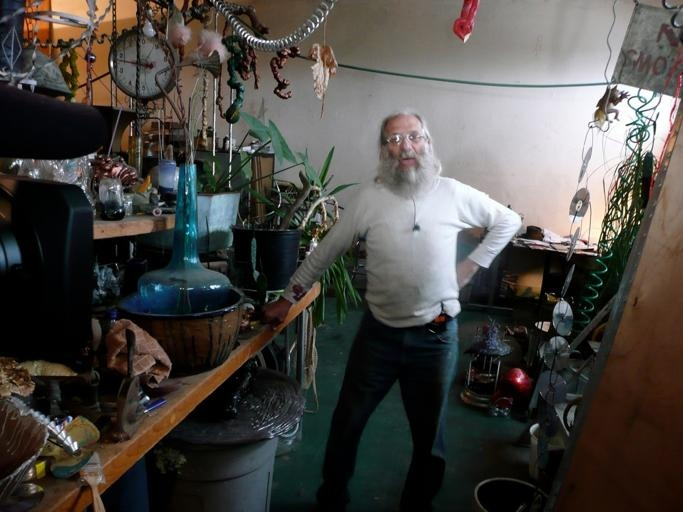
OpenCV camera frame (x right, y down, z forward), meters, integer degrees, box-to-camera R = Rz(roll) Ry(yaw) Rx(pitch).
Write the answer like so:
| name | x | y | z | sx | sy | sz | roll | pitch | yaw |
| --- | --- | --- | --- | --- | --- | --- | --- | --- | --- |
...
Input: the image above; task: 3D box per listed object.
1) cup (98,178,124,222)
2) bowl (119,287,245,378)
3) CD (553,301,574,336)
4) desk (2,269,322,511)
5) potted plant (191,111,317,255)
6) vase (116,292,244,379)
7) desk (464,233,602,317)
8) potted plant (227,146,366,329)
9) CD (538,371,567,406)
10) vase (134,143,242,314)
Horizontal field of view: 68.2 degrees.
| name | x | y | z | sx | sy | sz | roll | pitch | yaw |
| --- | --- | --- | --- | --- | --- | --- | --- | --- | --- |
| cup | -0.696 | -0.171 | 1.517 | 0.069 | 0.117 | 0.102 | -3 | 13 | -28 |
| bowl | -0.402 | 0.193 | 1.352 | 0.297 | 0.203 | 0.321 | 0 | 10 | 0 |
| CD | 0.617 | 0.174 | 1.380 | 0.023 | 0.071 | 0.088 | 13 | 52 | 7 |
| desk | -0.385 | 0.315 | 1.453 | 0.210 | 0.407 | 1.194 | 7 | 13 | 17 |
| potted plant | -0.544 | -0.357 | 2.429 | 0.570 | 0.558 | 0.561 | -12 | 18 | -13 |
| vase | -0.413 | 0.194 | 1.338 | 0.295 | 0.184 | 0.294 | -5 | 11 | -26 |
| desk | 1.631 | 0.289 | 4.733 | 0.463 | 0.623 | 0.841 | 1 | 9 | -40 |
| potted plant | -0.223 | -0.012 | 2.212 | 0.460 | 0.874 | 0.828 | 0 | -1 | 21 |
| CD | 0.540 | 0.347 | 1.292 | 0.077 | 0.018 | 0.077 | -25 | 33 | -20 |
| vase | -0.418 | -0.095 | 1.422 | 0.322 | 0.528 | 0.330 | -1 | 11 | -24 |
